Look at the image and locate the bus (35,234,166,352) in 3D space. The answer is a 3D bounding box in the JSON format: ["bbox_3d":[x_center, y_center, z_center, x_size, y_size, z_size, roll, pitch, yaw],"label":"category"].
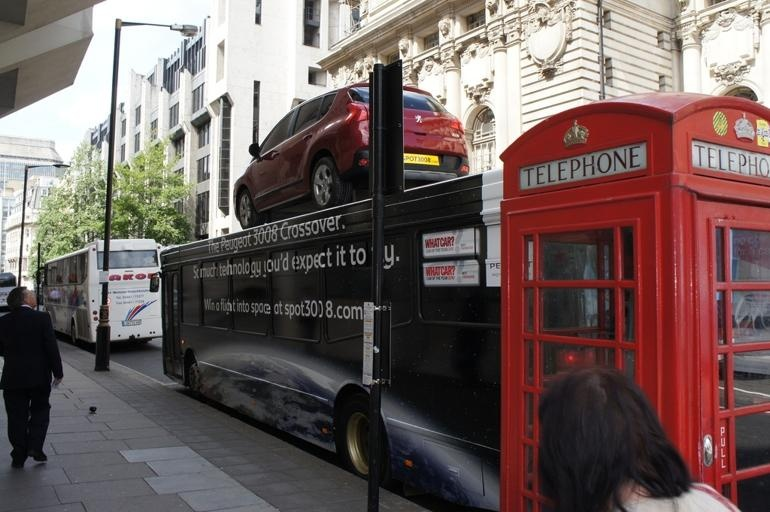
[{"bbox_3d":[-11.778,1.195,27.275,2.431,2.895,7.264,-1,-1,-40],"label":"bus"}]

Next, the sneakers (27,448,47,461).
[{"bbox_3d":[-4.580,2.635,8.895,0.207,0.155,0.203,3,-2,-29],"label":"sneakers"}]

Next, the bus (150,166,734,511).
[{"bbox_3d":[-0.138,0.960,9.133,2.231,2.344,7.902,2,-2,-29],"label":"bus"}]
